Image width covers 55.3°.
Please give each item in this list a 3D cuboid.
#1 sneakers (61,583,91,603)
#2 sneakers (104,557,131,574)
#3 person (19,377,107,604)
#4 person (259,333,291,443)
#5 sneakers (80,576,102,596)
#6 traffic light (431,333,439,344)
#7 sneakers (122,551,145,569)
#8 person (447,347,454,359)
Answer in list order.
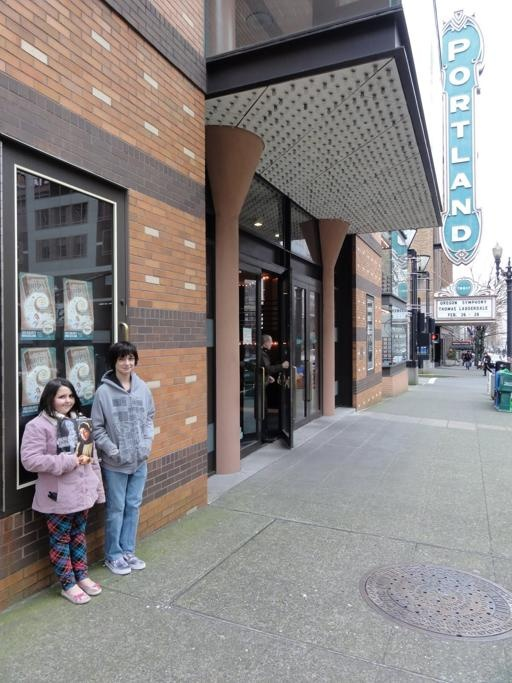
[{"bbox_3d":[-1.115,1.582,3.029,0.195,0.086,0.075,2,-2,26],"label":"sneakers"},{"bbox_3d":[-0.992,1.596,3.505,0.200,0.086,0.074,-4,-8,40],"label":"sneakers"},{"bbox_3d":[-1.164,0.932,3.023,0.311,1.396,0.591,0,-1,24],"label":"person"},{"bbox_3d":[0.316,0.818,8.176,0.456,1.805,1.487,1,-1,4],"label":"person"},{"bbox_3d":[-1.064,1.574,3.159,0.168,0.068,0.063,4,1,39],"label":"sneakers"},{"bbox_3d":[11.799,-0.197,32.413,0.187,0.793,0.742,-1,6,32],"label":"traffic light"},{"bbox_3d":[-0.883,1.598,3.564,0.182,0.078,0.074,4,2,33],"label":"sneakers"},{"bbox_3d":[20.322,1.293,51.486,0.968,1.228,0.961,3,2,15],"label":"person"}]
